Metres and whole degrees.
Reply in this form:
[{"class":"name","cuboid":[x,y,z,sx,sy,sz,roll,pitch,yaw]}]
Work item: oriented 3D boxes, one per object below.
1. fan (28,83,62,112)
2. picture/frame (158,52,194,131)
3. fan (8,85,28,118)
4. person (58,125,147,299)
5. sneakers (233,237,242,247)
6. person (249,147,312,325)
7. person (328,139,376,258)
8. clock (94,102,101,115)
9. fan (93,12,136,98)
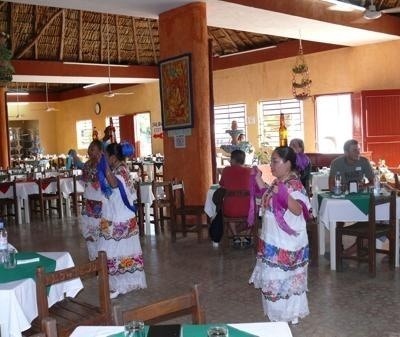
[{"class":"fan","cuboid":[-7.351,-3.354,17.032,1.505,2.031,1.294,1,-1,-15]},{"class":"picture/frame","cuboid":[-0.441,-1.327,6.474,0.087,1.293,0.896,-8,5,-44]},{"class":"fan","cuboid":[-8.116,-2.846,16.152,0.910,1.028,4.576,-6,5,-28]},{"class":"person","cuboid":[-0.989,0.485,4.016,0.590,1.608,1.038,-5,4,-19]},{"class":"sneakers","cuboid":[0.531,1.071,5.191,0.088,0.102,0.166,3,9,1]},{"class":"person","cuboid":[0.614,0.545,2.721,0.445,1.398,0.310,-3,4,8]},{"class":"person","cuboid":[1.907,0.410,4.581,0.483,1.511,0.431,-1,22,16]},{"class":"clock","cuboid":[-4.555,-2.619,16.014,0.065,0.554,0.502,-4,7,-30]},{"class":"fan","cuboid":[-2.748,-3.703,11.653,1.067,3.142,0.869,-11,31,-19]}]
